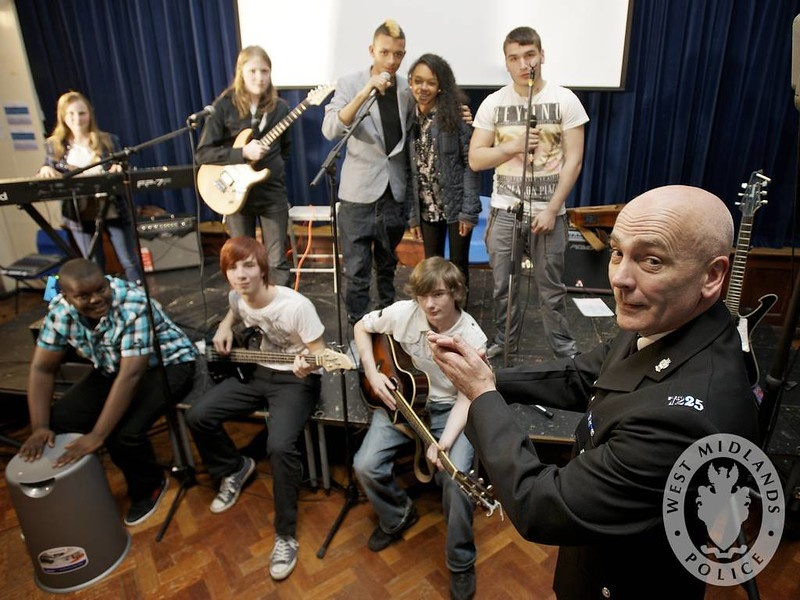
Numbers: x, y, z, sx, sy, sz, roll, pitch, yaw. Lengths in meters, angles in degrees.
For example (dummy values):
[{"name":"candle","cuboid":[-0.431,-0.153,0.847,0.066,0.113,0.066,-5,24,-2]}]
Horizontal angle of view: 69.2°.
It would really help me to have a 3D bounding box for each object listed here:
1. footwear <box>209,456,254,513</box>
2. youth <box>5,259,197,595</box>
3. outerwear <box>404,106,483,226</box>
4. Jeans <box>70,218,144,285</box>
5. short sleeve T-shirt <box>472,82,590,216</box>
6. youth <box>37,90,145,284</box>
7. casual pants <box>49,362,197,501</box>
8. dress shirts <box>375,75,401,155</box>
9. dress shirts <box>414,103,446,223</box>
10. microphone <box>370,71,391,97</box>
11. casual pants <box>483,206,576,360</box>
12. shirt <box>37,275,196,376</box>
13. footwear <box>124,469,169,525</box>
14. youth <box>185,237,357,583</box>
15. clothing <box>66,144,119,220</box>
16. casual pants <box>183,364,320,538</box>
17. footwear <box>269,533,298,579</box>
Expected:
[{"name":"footwear","cuboid":[-0.938,1.052,3.322,0.113,0.124,0.340,10,53,25]},{"name":"youth","cuboid":[-1.592,0.553,3.055,0.678,1.480,0.952,1,19,5]},{"name":"outerwear","cuboid":[0.340,-0.814,3.733,0.417,0.802,0.181,5,17,22]},{"name":"Jeans","cuboid":[-2.307,-0.473,4.631,0.345,0.767,0.122,4,46,1]},{"name":"short sleeve T-shirt","cuboid":[0.781,-0.969,3.575,0.645,0.872,0.291,7,44,19]},{"name":"youth","cuboid":[-2.323,-0.703,4.508,0.539,1.644,0.513,-9,18,-12]},{"name":"casual pants","cuboid":[-1.656,0.852,3.371,0.536,0.260,0.903,27,-15,-9]},{"name":"dress shirts","cuboid":[-0.074,-1.166,3.672,0.153,0.442,0.062,0,22,15]},{"name":"dress shirts","cuboid":[0.213,-0.901,3.873,0.216,0.666,0.086,8,27,31]},{"name":"microphone","cuboid":[-0.098,-1.200,3.211,0.058,0.062,0.229,2,43,11]},{"name":"casual pants","cuboid":[0.792,-0.155,3.714,0.581,1.265,0.271,6,41,28]},{"name":"shirt","cuboid":[-1.532,0.148,3.277,0.476,0.528,0.680,12,29,18]},{"name":"footwear","cuboid":[-1.415,1.129,3.270,0.112,0.112,0.313,11,38,-2]},{"name":"youth","cuboid":[-0.695,0.468,3.096,0.857,1.496,0.653,16,24,39]},{"name":"clothing","cuboid":[-2.108,-0.825,3.990,0.419,0.620,0.218,2,4,-24]},{"name":"casual pants","cuboid":[-0.757,0.739,3.412,0.715,1.008,0.779,7,8,25]},{"name":"footwear","cuboid":[-0.579,1.277,2.897,0.077,0.089,0.208,-1,8,-4]}]
